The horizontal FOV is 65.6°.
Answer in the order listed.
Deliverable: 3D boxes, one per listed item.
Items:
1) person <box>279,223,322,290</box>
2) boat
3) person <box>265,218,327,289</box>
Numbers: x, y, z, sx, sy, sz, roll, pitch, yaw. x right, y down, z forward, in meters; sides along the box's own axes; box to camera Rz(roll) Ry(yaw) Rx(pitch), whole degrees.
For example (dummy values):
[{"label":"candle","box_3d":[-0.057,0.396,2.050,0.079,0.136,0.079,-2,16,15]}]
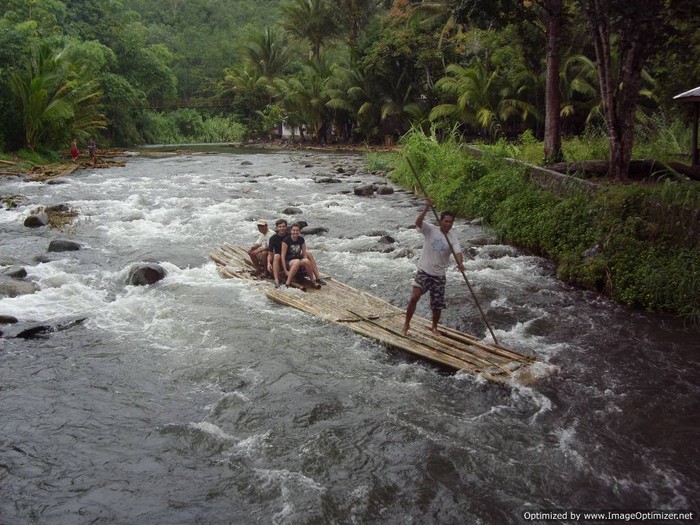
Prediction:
[{"label":"person","box_3d":[-0.941,-0.120,10.057,0.662,1.174,1.040,-11,12,-35]},{"label":"boat","box_3d":[0.512,0.928,8.856,1.032,0.279,6.171,-13,16,-28]},{"label":"person","box_3d":[-1.062,-0.132,10.175,0.807,1.102,0.938,-12,17,-28]}]
